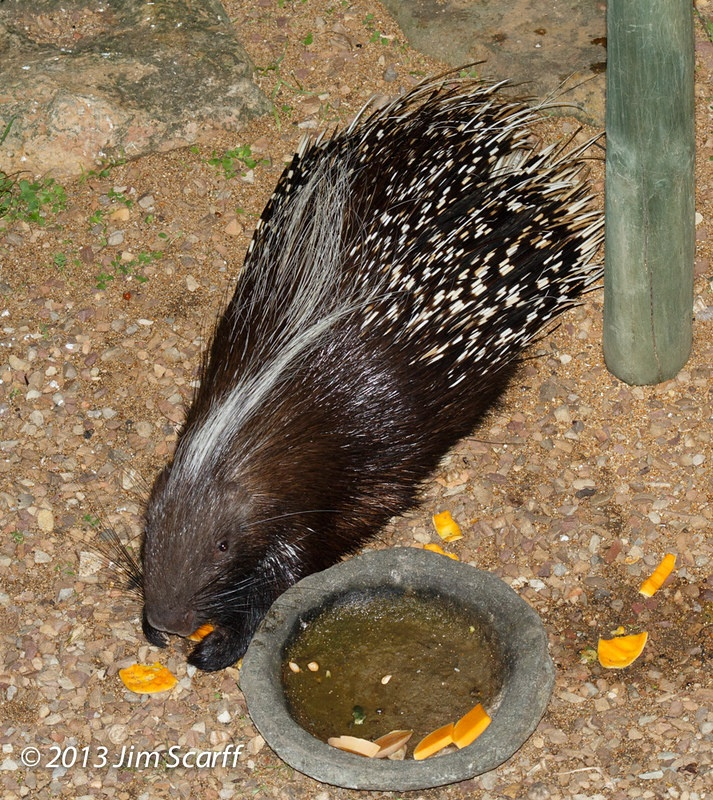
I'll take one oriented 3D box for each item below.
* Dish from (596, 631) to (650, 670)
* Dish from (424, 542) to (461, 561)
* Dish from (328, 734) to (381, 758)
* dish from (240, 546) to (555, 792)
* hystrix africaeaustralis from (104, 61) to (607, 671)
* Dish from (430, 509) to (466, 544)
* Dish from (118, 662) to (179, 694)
[{"bbox_3d":[0.665,0.630,2.452,0.114,0.044,0.099,7,46,7],"label":"Dish"},{"bbox_3d":[0.236,0.408,2.682,0.086,0.024,0.059,13,7,-1],"label":"Dish"},{"bbox_3d":[-0.004,0.799,2.258,0.067,0.012,0.065,6,5,-45],"label":"Dish"},{"bbox_3d":[0.084,0.618,2.284,0.702,0.169,0.604,-13,47,-12],"label":"dish"},{"bbox_3d":[-0.078,-0.065,3.041,1.135,0.850,1.873,43,91,17],"label":"hystrix africaeaustralis"},{"bbox_3d":[0.254,0.355,2.708,0.062,0.027,0.086,-26,51,3],"label":"Dish"},{"bbox_3d":[-0.556,0.740,2.588,0.116,0.029,0.100,-23,49,-21],"label":"Dish"}]
